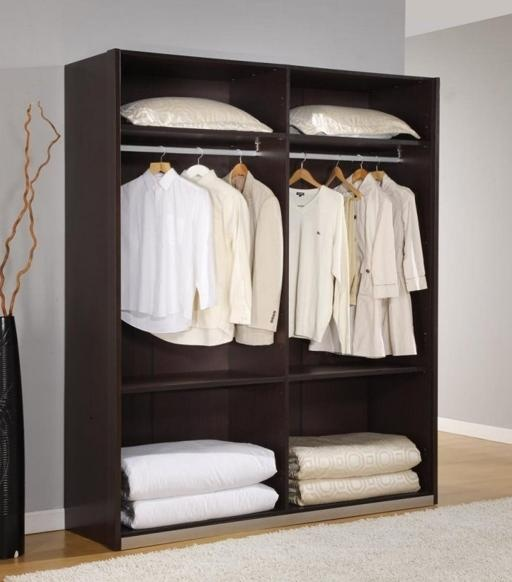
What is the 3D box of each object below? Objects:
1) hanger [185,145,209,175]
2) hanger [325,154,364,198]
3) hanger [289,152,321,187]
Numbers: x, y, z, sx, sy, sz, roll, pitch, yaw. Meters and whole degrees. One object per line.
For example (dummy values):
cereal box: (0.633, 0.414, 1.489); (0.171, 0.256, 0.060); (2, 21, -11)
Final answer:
hanger: (-0.273, -0.606, 2.739); (0.127, 0.175, 0.003); (0, 3, -9)
hanger: (0.445, -0.588, 3.063); (0.011, 0.157, 0.226); (-10, 25, -27)
hanger: (0.241, -0.618, 3.006); (0.201, 0.164, 0.005); (-2, 1, -19)
